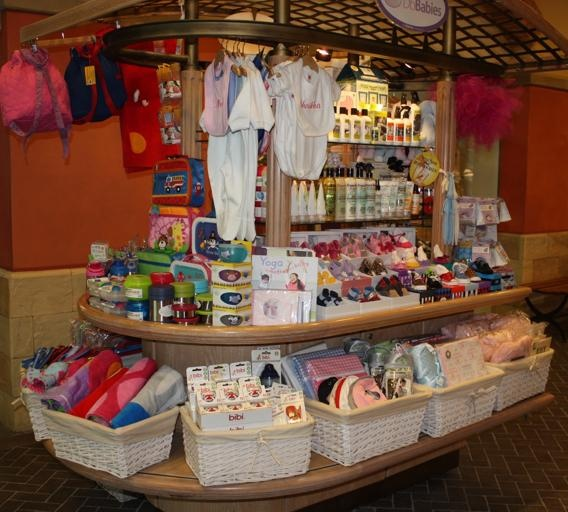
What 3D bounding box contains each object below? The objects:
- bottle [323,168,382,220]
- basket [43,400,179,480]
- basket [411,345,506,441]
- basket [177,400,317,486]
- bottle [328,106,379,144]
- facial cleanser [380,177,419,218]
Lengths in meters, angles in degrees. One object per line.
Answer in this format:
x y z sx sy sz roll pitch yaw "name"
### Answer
0.439 -0.408 3.380 0.134 0.272 0.427 7 9 44 "bottle"
-0.763 0.817 2.375 0.564 0.277 0.422 -3 18 -45 "basket"
1.003 0.827 2.862 0.593 0.306 0.121 -6 9 -33 "basket"
-0.149 0.817 2.259 0.444 0.170 0.318 -2 5 -19 "basket"
0.484 -0.886 3.423 0.113 0.240 0.516 5 9 39 "bottle"
0.839 -0.433 3.724 0.111 0.285 0.448 5 10 39 "facial cleanser"
